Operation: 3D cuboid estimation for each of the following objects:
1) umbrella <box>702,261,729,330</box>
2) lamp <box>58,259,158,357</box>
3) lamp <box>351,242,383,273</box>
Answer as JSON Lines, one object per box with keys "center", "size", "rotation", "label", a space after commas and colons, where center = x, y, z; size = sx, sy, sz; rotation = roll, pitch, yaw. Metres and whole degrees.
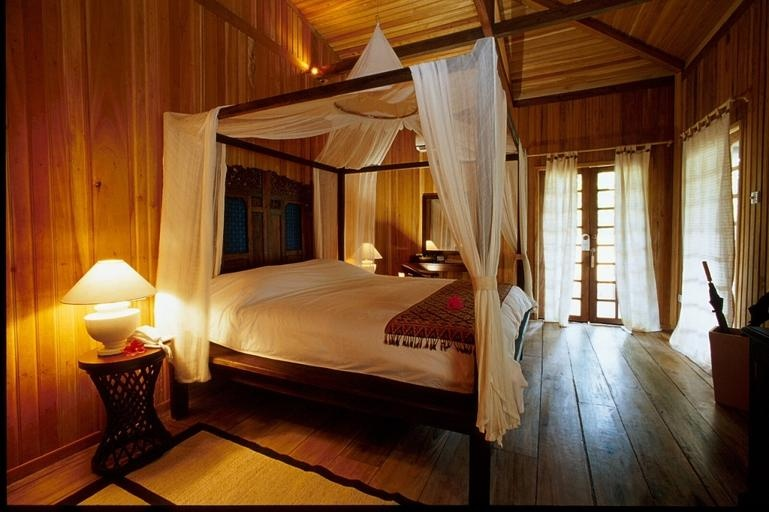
{"center": [3.443, 0.412, 5.552], "size": [0.095, 0.759, 0.192], "rotation": [-4, -20, 32], "label": "umbrella"}
{"center": [-2.421, 0.443, 4.726], "size": [0.651, 0.825, 0.745], "rotation": [1, 6, -2], "label": "lamp"}
{"center": [-0.280, 0.033, 7.314], "size": [0.397, 0.465, 0.365], "rotation": [1, -4, -38], "label": "lamp"}
